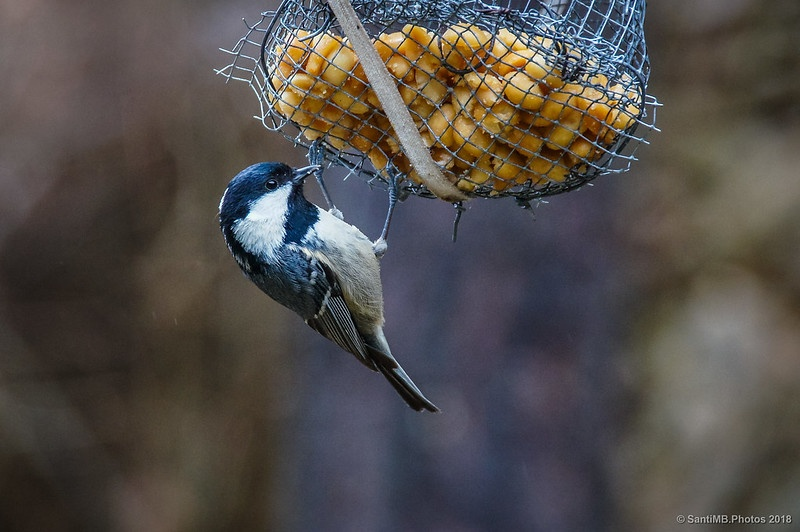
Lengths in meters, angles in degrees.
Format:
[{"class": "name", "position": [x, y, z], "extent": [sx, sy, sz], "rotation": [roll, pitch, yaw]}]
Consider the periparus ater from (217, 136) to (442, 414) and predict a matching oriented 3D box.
[{"class": "periparus ater", "position": [-0.282, 0.169, 4.016], "extent": [0.580, 1.243, 0.661], "rotation": [-21, 35, -24]}]

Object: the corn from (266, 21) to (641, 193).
[{"class": "corn", "position": [0.200, -0.602, 3.528], "extent": [1.432, 0.642, 0.297], "rotation": [7, 25, -3]}]
